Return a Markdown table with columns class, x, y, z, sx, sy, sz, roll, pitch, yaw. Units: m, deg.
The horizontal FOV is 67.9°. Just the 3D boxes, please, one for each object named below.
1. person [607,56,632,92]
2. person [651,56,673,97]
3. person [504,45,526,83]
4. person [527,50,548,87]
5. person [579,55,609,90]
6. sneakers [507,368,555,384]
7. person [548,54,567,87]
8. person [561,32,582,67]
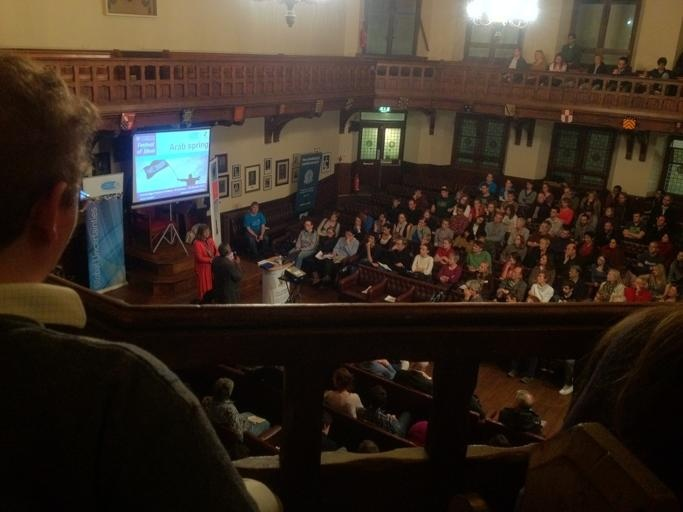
| class | x | y | z | sx | sy | sz | roll | pitch | yaw |
| --- | --- | --- | --- | --- | --- | --- | --- | --- | --- |
| person | 8.556 | -5.545 | 15.501 | 0.616 | 1.009 | 2.426 | 7 | 19 | 26 |
| person | 9.374 | -5.231 | 14.769 | 0.681 | 1.069 | 2.224 | 8 | 19 | 29 |
| person | 5.836 | -6.439 | 17.187 | 0.669 | 1.276 | 0.693 | 15 | 2 | 36 |
| person | 6.480 | -6.154 | 16.646 | 0.585 | 1.099 | 1.716 | 5 | 18 | 19 |
| person | 8.023 | -5.738 | 15.840 | 0.600 | 1.047 | 2.259 | 6 | 19 | 24 |
| sneakers | 3.563 | 2.253 | 9.551 | 0.461 | 0.216 | 0.165 | 11 | 23 | -7 |
| person | 6.965 | -5.955 | 16.271 | 0.537 | 1.034 | 1.710 | 5 | 18 | 21 |
| person | 7.709 | -6.825 | 16.943 | 0.668 | 0.998 | 0.480 | -9 | 18 | -25 |
